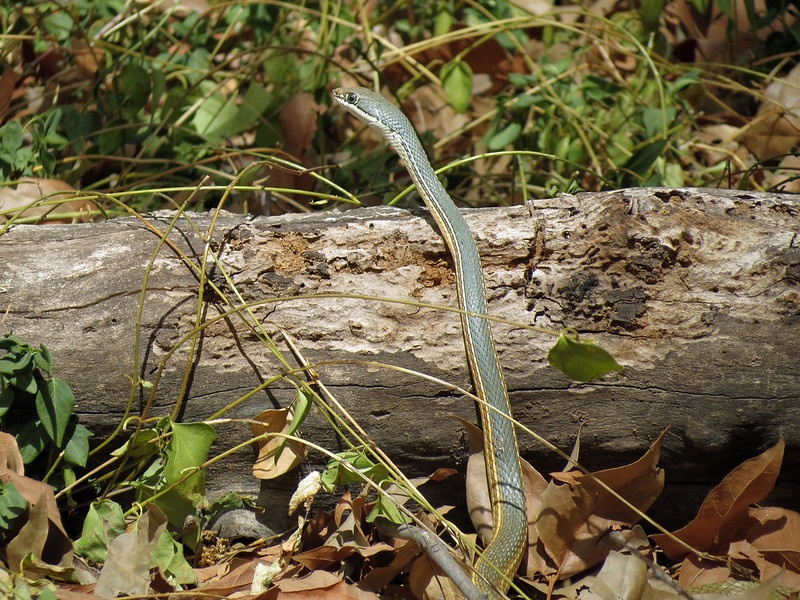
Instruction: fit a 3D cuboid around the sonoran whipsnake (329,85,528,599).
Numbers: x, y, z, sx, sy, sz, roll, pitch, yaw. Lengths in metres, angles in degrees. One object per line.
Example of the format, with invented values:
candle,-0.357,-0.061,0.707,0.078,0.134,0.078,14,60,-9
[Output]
sonoran whipsnake,0.293,0.059,5.843,0.870,0.329,2.974,-3,64,-33
